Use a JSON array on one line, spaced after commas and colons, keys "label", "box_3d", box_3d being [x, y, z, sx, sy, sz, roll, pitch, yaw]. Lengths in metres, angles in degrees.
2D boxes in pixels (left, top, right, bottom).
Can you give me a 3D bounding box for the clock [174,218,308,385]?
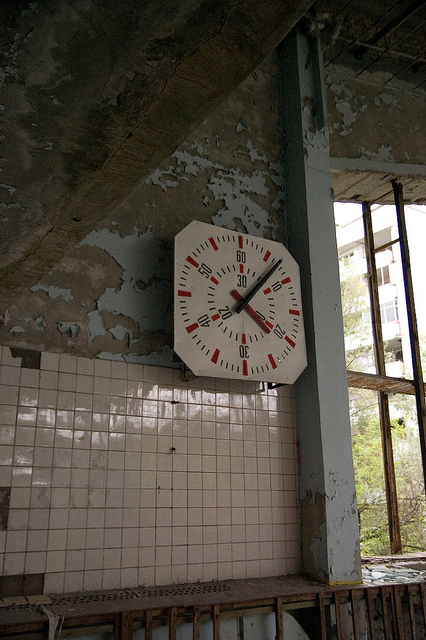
[{"label": "clock", "box_3d": [0.160, -0.086, 3.315, 0.815, 0.870, 0.055, 9, 23, 24]}]
